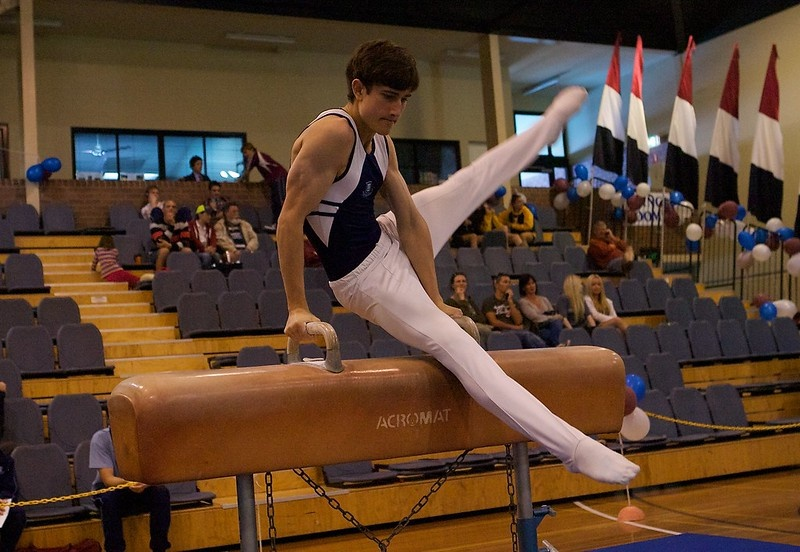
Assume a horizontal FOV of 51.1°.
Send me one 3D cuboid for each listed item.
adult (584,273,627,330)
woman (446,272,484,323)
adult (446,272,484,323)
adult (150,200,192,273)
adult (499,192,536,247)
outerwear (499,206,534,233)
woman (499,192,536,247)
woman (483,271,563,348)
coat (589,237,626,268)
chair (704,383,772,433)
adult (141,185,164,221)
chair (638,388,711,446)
[{"bbox_3d":[2.939,0.330,12.100,0.364,0.611,0.870,-24,19,-13],"label":"adult"},{"bbox_3d":[0.815,0.319,11.296,0.235,0.797,0.737,-2,-7,-4],"label":"woman"},{"bbox_3d":[0.809,0.327,11.298,0.230,0.805,0.735,-1,-2,-3],"label":"adult"},{"bbox_3d":[-3.545,-0.491,13.062,0.491,1.509,0.808,-3,-7,-17],"label":"adult"},{"bbox_3d":[2.090,-0.947,15.307,0.658,1.211,0.569,-2,3,10],"label":"adult"},{"bbox_3d":[2.125,-1.012,15.203,0.602,0.556,0.441,0,-19,25],"label":"outerwear"},{"bbox_3d":[2.094,-0.950,15.298,0.703,1.216,0.576,-3,4,11],"label":"woman"},{"bbox_3d":[1.691,0.532,11.435,0.568,1.008,1.367,-12,20,-37],"label":"woman"},{"bbox_3d":[3.634,-0.398,14.776,0.537,0.514,0.471,-13,-6,22],"label":"coat"},{"bbox_3d":[4.271,1.616,10.702,0.430,0.736,0.563,-9,-14,-27],"label":"chair"},{"bbox_3d":[-4.285,-1.186,14.603,0.234,0.515,0.650,-4,-25,-23],"label":"adult"},{"bbox_3d":[3.441,1.813,10.646,0.579,0.944,0.764,-4,-22,-9],"label":"chair"}]
